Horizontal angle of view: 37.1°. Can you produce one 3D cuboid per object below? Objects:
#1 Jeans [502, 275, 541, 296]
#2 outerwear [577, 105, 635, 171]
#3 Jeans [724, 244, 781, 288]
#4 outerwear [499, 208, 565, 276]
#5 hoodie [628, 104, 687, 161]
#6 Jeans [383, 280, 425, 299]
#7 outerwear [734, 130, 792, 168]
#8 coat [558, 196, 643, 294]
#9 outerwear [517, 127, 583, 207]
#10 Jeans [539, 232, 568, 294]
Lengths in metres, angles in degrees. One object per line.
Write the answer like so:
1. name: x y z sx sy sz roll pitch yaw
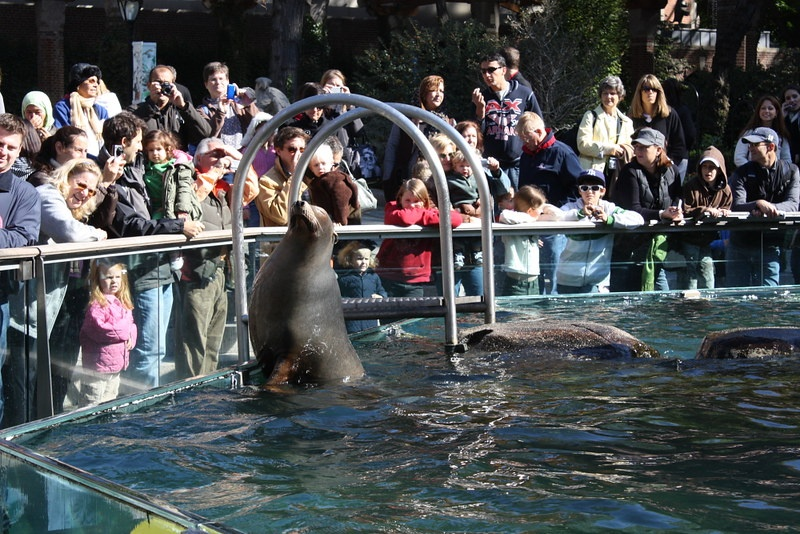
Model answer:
1. Jeans: 1.155 0.232 11.214 0.334 0.220 0.196 2 -3 -32
2. outerwear: 2.335 -1.406 13.432 0.708 0.821 0.526 -3 23 -20
3. Jeans: 3.631 0.022 12.143 0.429 0.543 0.198 -8 44 14
4. outerwear: 1.235 -0.204 11.268 0.716 0.712 0.445 0 -4 -38
5. hoodie: 2.803 -1.450 13.091 0.717 0.684 0.423 -6 -9 6
6. Jeans: 0.041 0.205 10.714 0.287 0.061 0.160 2 22 0
7. outerwear: 4.050 -1.298 13.264 0.687 0.394 0.765 -3 -8 5
8. coat: 1.949 -0.164 11.584 0.870 0.883 0.487 9 -12 -3
9. outerwear: 1.570 -0.985 12.774 0.477 0.770 0.869 0 3 -43
10. Jeans: 1.426 -0.030 11.323 0.202 0.490 0.367 4 5 -19
